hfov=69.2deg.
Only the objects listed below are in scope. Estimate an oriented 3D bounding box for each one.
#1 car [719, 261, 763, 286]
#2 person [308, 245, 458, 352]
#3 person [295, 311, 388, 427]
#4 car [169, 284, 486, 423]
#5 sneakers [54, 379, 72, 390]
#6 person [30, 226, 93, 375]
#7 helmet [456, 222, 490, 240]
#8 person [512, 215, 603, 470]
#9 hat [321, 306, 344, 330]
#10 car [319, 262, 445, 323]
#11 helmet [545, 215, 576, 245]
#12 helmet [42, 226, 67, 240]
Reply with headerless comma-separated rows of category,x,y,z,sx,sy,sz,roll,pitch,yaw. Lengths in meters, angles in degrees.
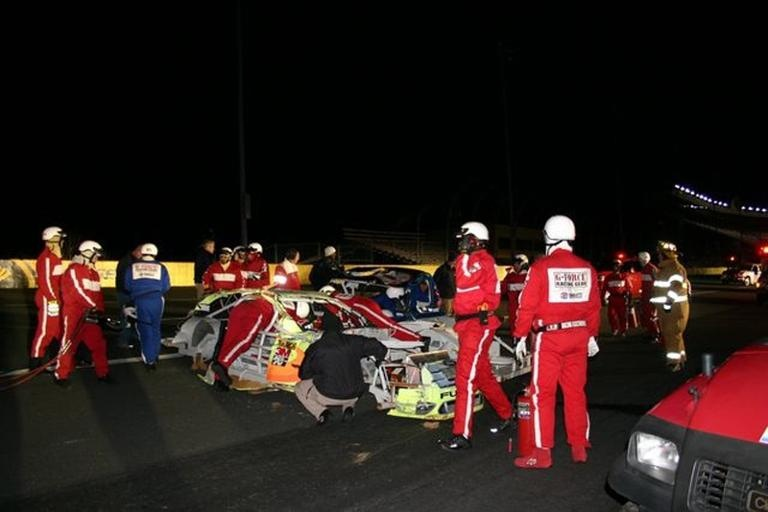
car,24.639,1.267,38.454,3.170,1.438,1.964,2,6,37
person,0.146,0.806,11.190,2.340,0.753,1.596,13,20,39
person,-0.632,1.543,7.610,1.140,1.488,0.448,-1,5,-8
car,-1.003,1.364,8.509,3.966,1.017,2.295,2,6,25
sneakers,-5.211,2.063,9.063,0.340,0.150,0.160,2,5,19
person,-5.594,0.664,9.301,0.526,2.235,0.599,-2,5,-25
helmet,1.141,-0.313,7.034,0.345,0.164,0.229,2,-1,-2
person,1.945,0.990,6.285,0.962,2.774,0.604,-4,7,-43
hat,-0.722,0.913,7.725,0.240,0.310,0.321,3,-9,-24
car,0.097,0.728,11.728,2.023,0.797,1.278,4,9,31
helmet,2.025,-0.317,6.596,0.319,0.371,0.375,4,12,-3
helmet,-5.632,-0.383,9.473,0.335,0.256,0.265,-21,17,-30
